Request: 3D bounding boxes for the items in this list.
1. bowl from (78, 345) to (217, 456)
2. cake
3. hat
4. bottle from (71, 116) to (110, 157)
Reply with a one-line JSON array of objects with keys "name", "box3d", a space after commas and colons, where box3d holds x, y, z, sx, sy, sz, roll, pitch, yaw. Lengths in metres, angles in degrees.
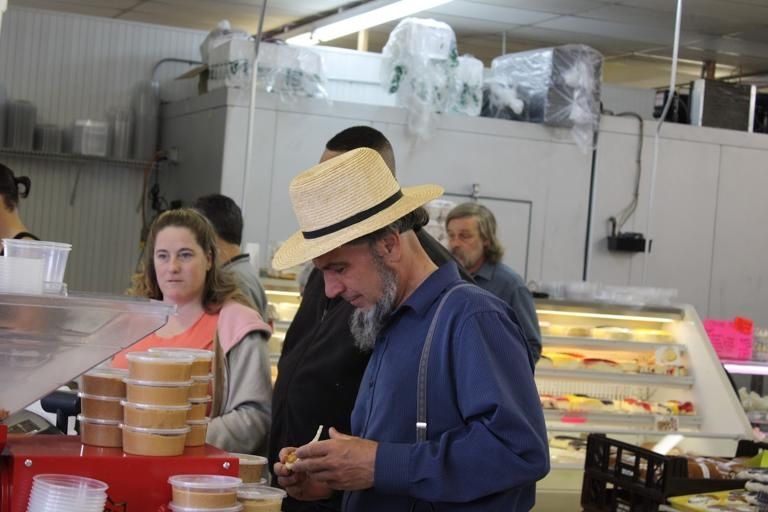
[{"name": "bowl", "box3d": [-1.140, 0.667, 4.607, 0.535, 0.377, 0.507, 2, -1, 0]}, {"name": "cake", "box3d": [2.032, 1.316, 7.134, 1.430, 0.903, 1.434, 0, 11, -5]}, {"name": "hat", "box3d": [-0.210, -0.298, 4.854, 0.937, 0.401, 0.819, -26, 16, -25]}, {"name": "bottle", "box3d": [-2.887, -1.146, 9.283, 0.336, 0.457, 0.245, 6, 9, -42]}]
